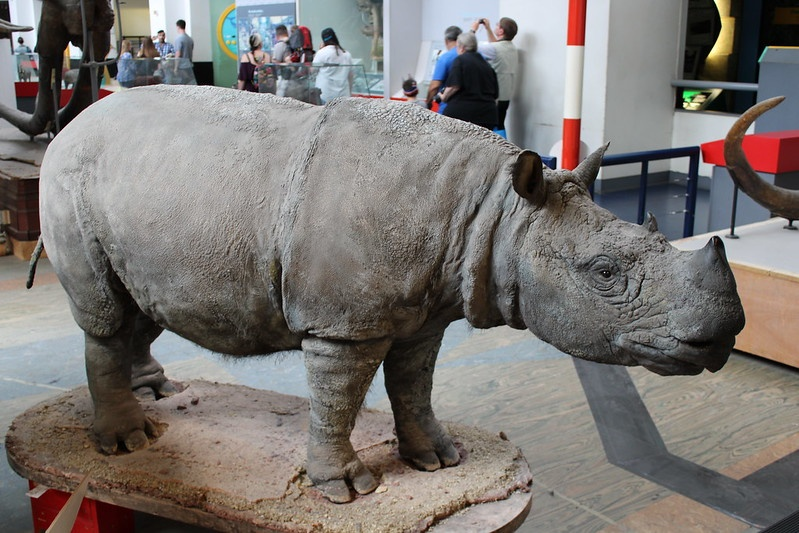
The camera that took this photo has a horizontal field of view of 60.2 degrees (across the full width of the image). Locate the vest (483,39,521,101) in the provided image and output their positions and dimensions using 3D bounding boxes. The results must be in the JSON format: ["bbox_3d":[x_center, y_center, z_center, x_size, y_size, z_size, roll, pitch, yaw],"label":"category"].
[{"bbox_3d":[1.454,-2.817,9.955,0.494,0.813,0.806,11,18,27],"label":"vest"}]

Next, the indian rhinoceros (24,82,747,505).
[{"bbox_3d":[-0.218,0.119,3.062,2.952,1.771,0.842,6,18,23],"label":"indian rhinoceros"}]

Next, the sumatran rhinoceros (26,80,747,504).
[{"bbox_3d":[-0.236,0.126,3.354,3.232,1.761,1.048,6,14,10],"label":"sumatran rhinoceros"}]
